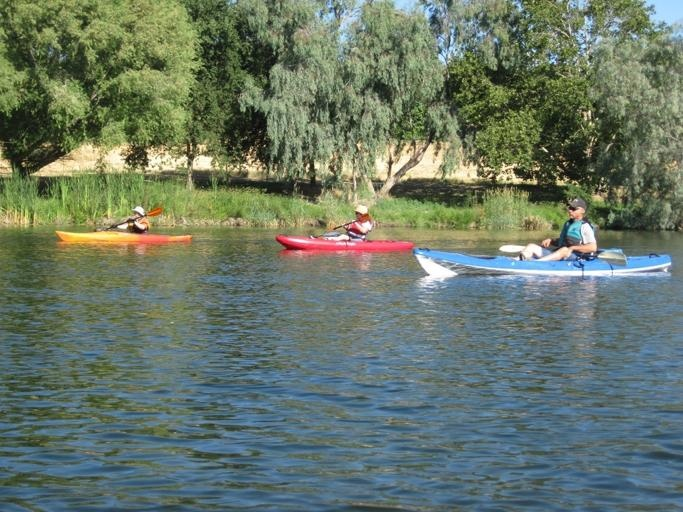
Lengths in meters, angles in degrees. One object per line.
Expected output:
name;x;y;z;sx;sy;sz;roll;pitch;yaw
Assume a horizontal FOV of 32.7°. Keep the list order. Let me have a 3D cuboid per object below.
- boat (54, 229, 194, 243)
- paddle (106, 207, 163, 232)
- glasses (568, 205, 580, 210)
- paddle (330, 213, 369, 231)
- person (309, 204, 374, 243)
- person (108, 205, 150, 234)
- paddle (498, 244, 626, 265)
boat;-6.646;-0.593;35.167;4.071;0.356;0.598;0;12;-14
paddle;-5.966;-1.088;34.937;0.983;0.520;1.929;-3;-3;43
glasses;5.396;-1.127;27.192;0.111;0.098;0.261;-10;15;-43
paddle;0.603;-0.970;33.427;0.966;0.385;0.551;-10;19;-25
person;0.073;-0.791;33.534;2.063;1.000;1.050;-14;9;-15
person;-6.139;-1.006;34.960;1.656;0.633;0.762;12;-14;-34
paddle;5.281;-0.005;28.132;2.212;0.293;0.567;3;8;-7
